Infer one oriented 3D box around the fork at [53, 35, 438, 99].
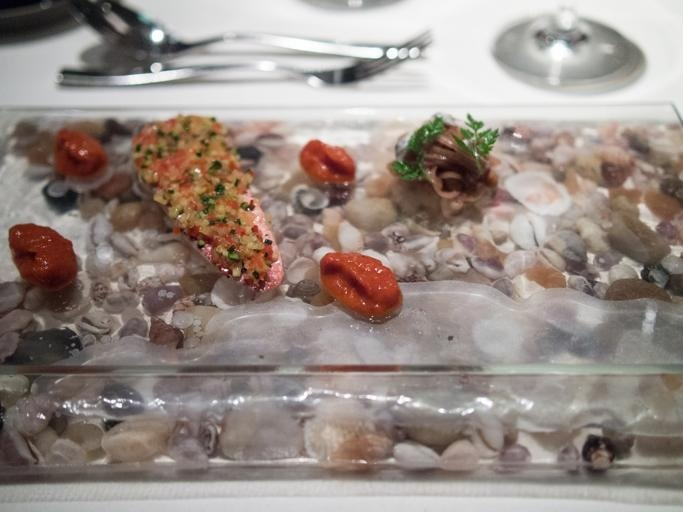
[{"bbox_3d":[-0.156,-0.338,1.263,0.698,0.086,0.075,-12,22,-33],"label":"fork"}]
